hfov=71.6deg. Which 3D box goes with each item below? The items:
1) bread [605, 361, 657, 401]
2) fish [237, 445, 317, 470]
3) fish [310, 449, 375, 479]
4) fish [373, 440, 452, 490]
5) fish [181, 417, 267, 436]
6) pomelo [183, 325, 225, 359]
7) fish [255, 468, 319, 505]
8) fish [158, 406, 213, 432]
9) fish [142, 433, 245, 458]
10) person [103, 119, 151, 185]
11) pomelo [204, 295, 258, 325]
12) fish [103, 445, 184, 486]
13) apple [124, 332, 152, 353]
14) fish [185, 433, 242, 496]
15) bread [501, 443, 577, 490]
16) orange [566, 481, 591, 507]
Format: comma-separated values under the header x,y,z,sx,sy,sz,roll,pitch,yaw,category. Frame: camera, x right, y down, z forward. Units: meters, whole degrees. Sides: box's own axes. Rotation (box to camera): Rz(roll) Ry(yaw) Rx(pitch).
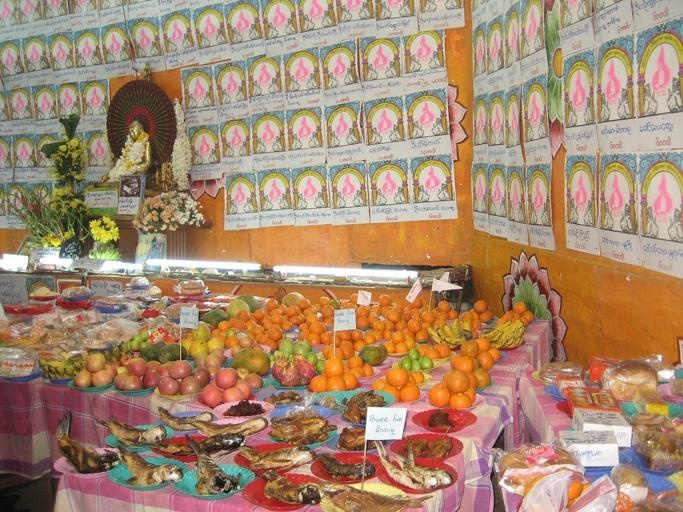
x,y,z,sx,sy,sz,roll,pitch,yaw,category
1.136,0.492,1.864,0.153,0.110,0.174,-1,4,13,bread
-0.215,0.651,1.521,0.169,0.069,0.097,3,-35,15,fish
0.010,0.654,1.467,0.115,0.041,0.090,5,-4,15,fish
0.224,0.662,1.483,0.204,0.066,0.085,19,32,22,fish
-0.436,0.631,1.745,0.188,0.037,0.073,2,-11,20,fish
-0.747,0.466,2.541,0.179,0.095,0.189,-3,18,2,pomelo
-0.155,0.657,1.342,0.123,0.036,0.071,0,34,36,fish
-0.599,0.627,1.801,0.111,0.043,0.098,10,-3,-19,fish
-0.504,0.650,1.615,0.252,0.057,0.105,-1,3,12,fish
-2.612,-1.281,5.858,0.601,1.088,0.691,-1,4,-27,person
-0.739,0.362,3.075,0.339,0.131,0.147,-23,1,2,pomelo
-0.617,0.673,1.483,0.126,0.047,0.109,27,14,20,fish
-1.107,0.467,2.553,0.106,0.041,0.107,-8,24,-13,apple
-0.407,0.633,1.429,0.224,0.111,0.113,1,1,29,fish
0.576,0.626,1.395,0.219,0.113,0.182,1,1,17,bread
0.644,0.642,1.285,0.027,0.065,0.065,38,10,29,orange
